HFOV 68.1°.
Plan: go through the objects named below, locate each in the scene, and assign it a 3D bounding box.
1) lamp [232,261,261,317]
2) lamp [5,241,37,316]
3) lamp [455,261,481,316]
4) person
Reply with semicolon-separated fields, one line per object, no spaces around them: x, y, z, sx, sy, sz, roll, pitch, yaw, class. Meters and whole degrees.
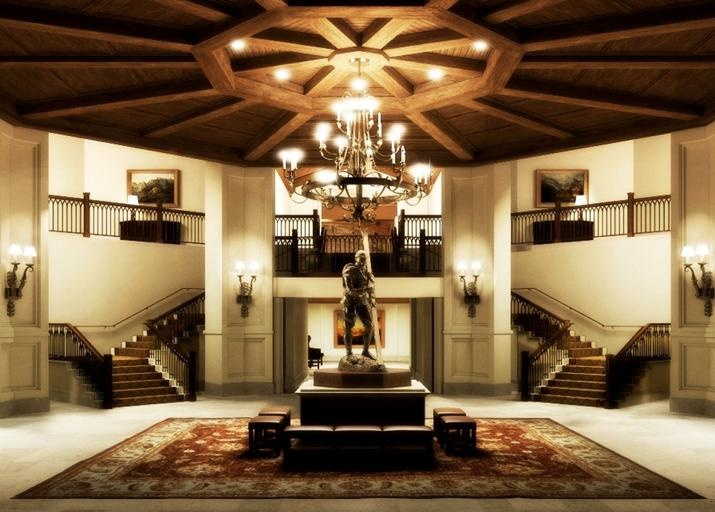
-2.641;0.794;12.624;0.557;1.344;0.277;0;-1;-12;lamp
-6.299;0.440;9.926;0.326;1.346;0.494;0;-1;3;lamp
2.673;0.807;12.756;0.565;1.332;0.238;0;-1;15;lamp
0.028;0.740;8.247;0.494;1.666;0.447;0;-1;1;person
